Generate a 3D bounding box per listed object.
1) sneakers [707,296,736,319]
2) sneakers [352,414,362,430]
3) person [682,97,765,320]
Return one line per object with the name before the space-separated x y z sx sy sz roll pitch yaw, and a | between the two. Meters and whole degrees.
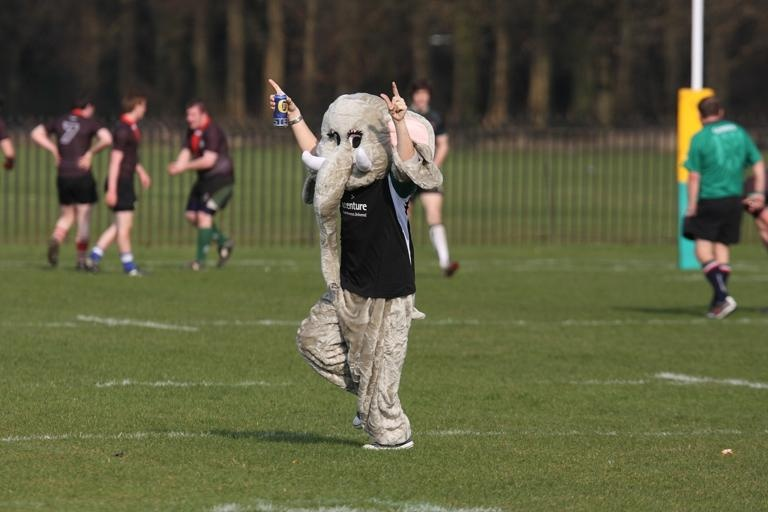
sneakers | 3.920 0.588 20.569 0.157 0.176 0.378 -24 -3 -42
sneakers | -0.236 1.584 17.042 0.079 0.089 0.221 3 4 0
person | 3.946 -0.583 20.690 0.878 2.534 0.712 0 5 6
